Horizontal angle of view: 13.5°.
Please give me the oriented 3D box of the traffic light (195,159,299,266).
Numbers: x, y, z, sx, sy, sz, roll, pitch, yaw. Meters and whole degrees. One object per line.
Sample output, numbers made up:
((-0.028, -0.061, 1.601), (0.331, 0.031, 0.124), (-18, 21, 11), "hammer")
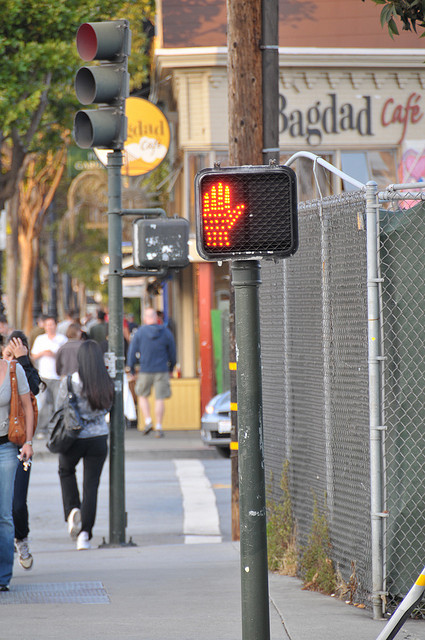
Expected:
((0.206, -0.626, 10.447), (0.680, 0.923, 0.285), (-1, -1, -2), "traffic light")

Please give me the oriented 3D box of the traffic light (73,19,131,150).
((-0.886, -1.916, 14.471), (0.453, 0.729, 0.513), (-1, 1, -4), "traffic light")

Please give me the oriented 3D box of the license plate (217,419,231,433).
((0.128, 1.175, 20.228), (0.121, 0.160, 0.206), (-1, 1, -10), "license plate")

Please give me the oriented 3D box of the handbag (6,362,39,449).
((-1.380, 0.598, 12.753), (0.116, 0.456, 0.184), (0, 1, 42), "handbag")

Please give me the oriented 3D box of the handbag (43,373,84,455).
((-1.233, 0.782, 14.937), (0.228, 0.485, 0.428), (-2, 1, -38), "handbag")

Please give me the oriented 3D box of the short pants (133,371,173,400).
((-0.742, 0.807, 22.831), (0.313, 0.378, 0.146), (1, 4, 3), "short pants")
